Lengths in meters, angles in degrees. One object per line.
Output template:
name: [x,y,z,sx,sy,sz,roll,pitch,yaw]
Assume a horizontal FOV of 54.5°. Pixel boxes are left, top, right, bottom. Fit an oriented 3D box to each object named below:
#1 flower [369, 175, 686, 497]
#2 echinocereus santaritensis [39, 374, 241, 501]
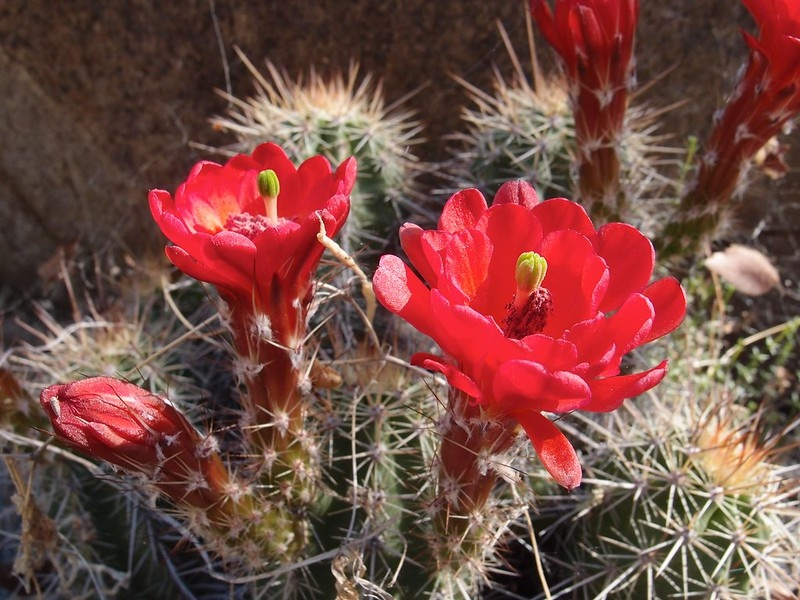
flower: [0.182,0.114,1.155,0.360,0.440,0.391,22,49,29]
echinocereus santaritensis: [-0.388,0.212,1.191,0.228,0.209,0.100,5,50,10]
